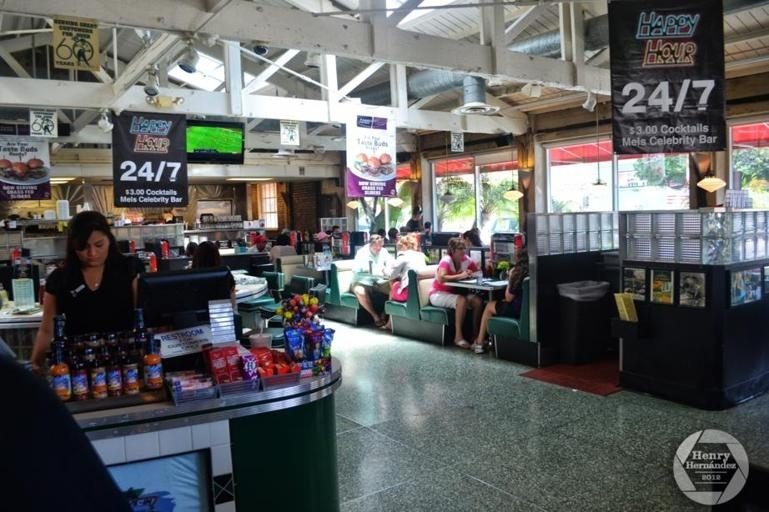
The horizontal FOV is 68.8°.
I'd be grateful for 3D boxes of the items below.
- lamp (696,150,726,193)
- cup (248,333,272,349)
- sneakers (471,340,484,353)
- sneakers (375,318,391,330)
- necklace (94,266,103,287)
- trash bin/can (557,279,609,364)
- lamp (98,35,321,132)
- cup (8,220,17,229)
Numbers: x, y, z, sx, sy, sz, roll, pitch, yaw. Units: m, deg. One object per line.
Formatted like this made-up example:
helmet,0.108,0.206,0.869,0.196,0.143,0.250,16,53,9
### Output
lamp,5.537,-1.320,9.333,0.548,0.716,0.530,-4,6,-39
cup,-0.864,0.592,3.892,0.137,0.100,0.141,-1,0,0
sneakers,1.259,1.230,7.492,0.153,0.141,0.398,0,-5,4
sneakers,-0.013,1.116,9.013,0.115,0.137,0.354,1,3,-9
necklace,-2.036,0.151,3.997,0.046,0.116,0.083,13,-8,-27
trash bin/can,2.515,0.834,6.968,0.705,0.978,0.299,-6,12,-19
lamp,-3.025,-2.989,9.664,2.744,0.675,2.606,-14,7,-14
cup,-7.450,-0.613,11.210,0.190,0.167,0.094,0,-2,-32
